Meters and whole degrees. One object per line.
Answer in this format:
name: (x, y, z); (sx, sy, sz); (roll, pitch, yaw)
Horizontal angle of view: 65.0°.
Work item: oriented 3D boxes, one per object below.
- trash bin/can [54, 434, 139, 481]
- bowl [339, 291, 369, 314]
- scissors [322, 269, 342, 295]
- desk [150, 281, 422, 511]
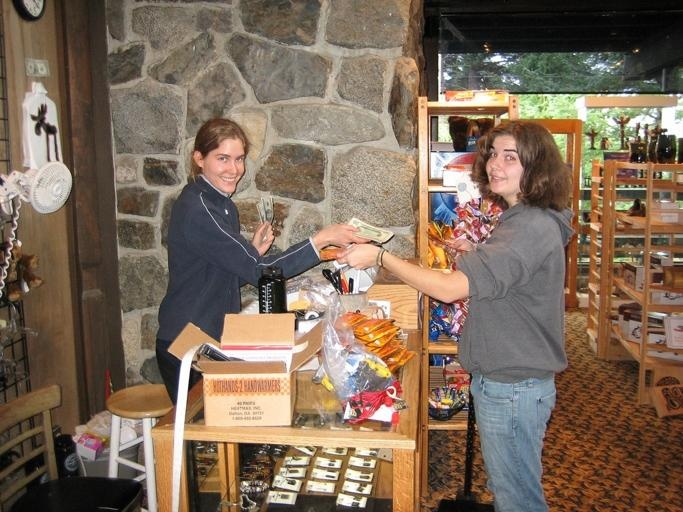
trash bin/can: (-1.416, 1.142, 3.165); (0.369, 0.217, 0.266); (3, 0, -2)
bowl: (0.067, 0.218, 2.593); (0.098, 0.064, 0.088); (-2, 1, 25)
scissors: (-0.059, 0.111, 2.662); (0.063, 0.129, 0.076); (-30, 21, 12)
desk: (-0.199, 0.548, 2.230); (1.023, 0.753, 1.435); (0, 4, 6)
